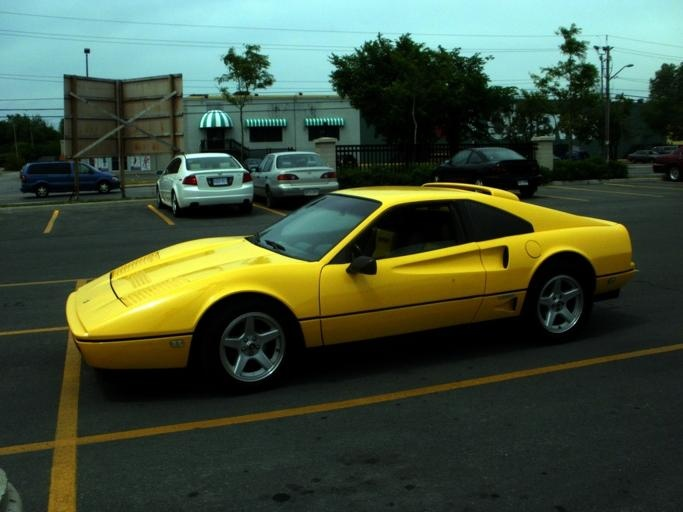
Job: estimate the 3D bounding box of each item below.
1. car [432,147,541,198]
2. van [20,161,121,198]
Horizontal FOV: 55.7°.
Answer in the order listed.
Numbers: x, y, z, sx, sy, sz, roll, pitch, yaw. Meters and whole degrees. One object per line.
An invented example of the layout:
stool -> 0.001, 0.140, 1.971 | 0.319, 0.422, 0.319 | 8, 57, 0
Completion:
car -> 4.253, -2.753, 20.401 | 1.420, 1.014, 3.044 | -4, 16, -22
van -> -12.581, -3.378, 30.116 | 4.107, 1.462, 1.899 | -7, 12, -21
